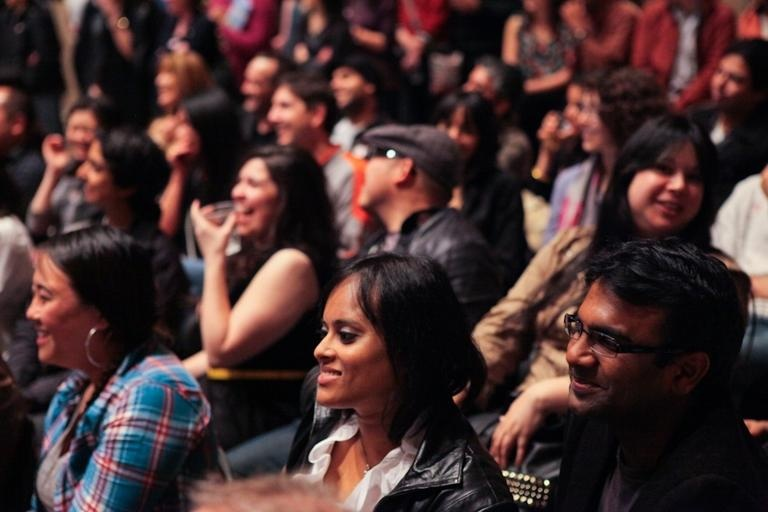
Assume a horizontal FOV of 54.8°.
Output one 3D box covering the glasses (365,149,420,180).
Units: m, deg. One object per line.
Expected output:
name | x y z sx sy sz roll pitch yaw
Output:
glasses | 0.039 -0.527 4.296 0.209 0.064 0.216 11 -13 12

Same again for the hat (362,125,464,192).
hat | 0.170 -0.595 4.311 0.491 0.264 0.353 29 1 -2

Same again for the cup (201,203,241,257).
cup | -0.868 -0.145 3.952 0.201 0.282 0.103 0 -9 22
